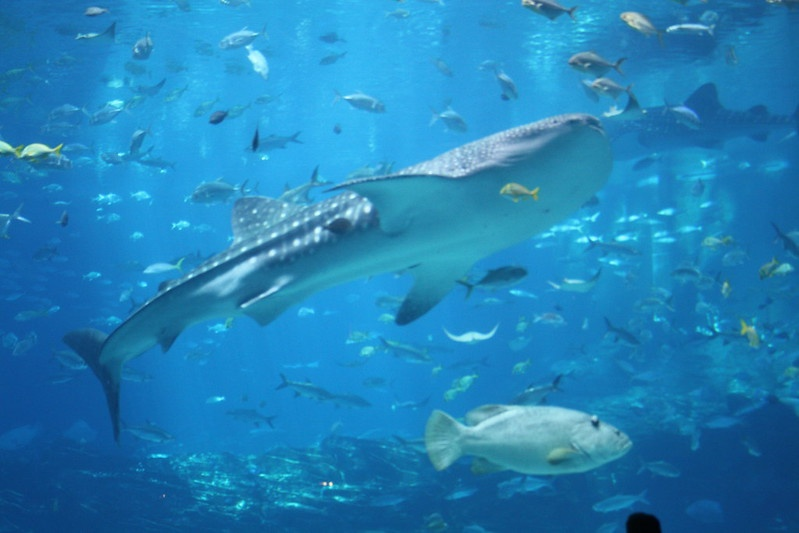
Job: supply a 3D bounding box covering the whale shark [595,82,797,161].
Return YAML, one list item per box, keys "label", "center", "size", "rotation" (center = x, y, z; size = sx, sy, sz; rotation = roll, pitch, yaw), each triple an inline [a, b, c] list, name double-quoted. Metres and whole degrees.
- label: "whale shark"
  center: [15.790, -7.691, 41.042]
  size: [8.783, 2.324, 4.968]
  rotation: [-9, -14, 30]
